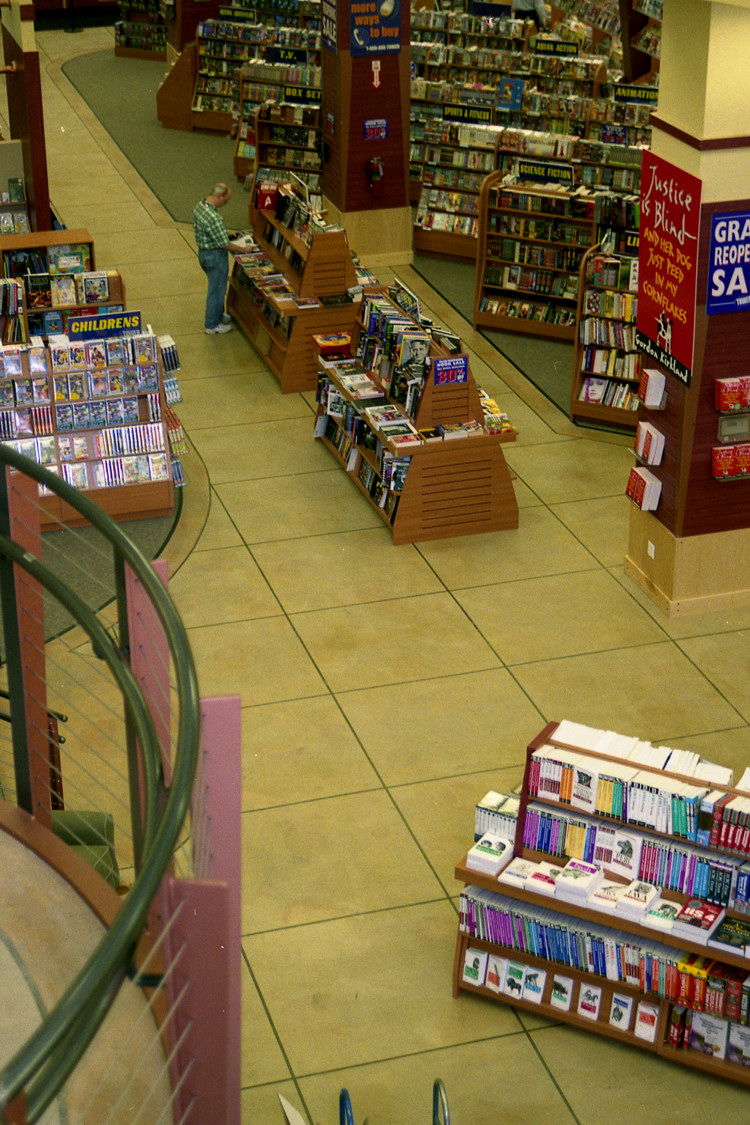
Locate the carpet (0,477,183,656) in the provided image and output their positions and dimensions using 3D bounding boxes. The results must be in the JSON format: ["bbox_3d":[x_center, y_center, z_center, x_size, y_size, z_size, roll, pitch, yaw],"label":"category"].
[{"bbox_3d":[-2.321,-0.054,7.766,1.329,0.787,1.545,-5,20,-21],"label":"carpet"}]
